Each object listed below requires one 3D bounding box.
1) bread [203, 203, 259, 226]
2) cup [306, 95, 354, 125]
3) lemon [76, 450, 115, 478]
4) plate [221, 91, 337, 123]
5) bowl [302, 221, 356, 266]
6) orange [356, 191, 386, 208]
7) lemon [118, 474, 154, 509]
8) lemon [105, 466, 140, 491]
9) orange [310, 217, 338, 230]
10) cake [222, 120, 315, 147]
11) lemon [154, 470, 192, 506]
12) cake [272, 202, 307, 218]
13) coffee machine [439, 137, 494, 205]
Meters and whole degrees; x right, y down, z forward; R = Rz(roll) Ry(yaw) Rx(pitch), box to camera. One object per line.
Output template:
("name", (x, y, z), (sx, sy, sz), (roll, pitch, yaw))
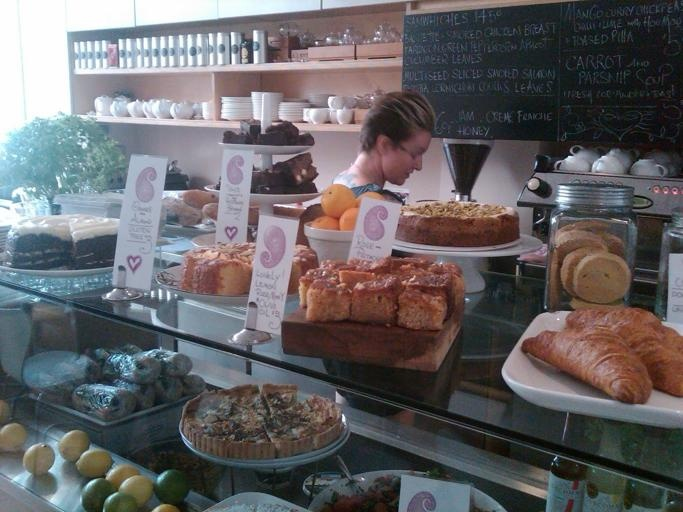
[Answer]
("bread", (-0.361, -0.136, 1.582), (0.124, 0.043, 0.124), (7, 10, 39))
("cup", (-0.073, -0.935, 3.202), (0.292, 0.108, 0.182), (8, 18, 25))
("lemon", (-0.506, 0.433, 1.045), (0.069, 0.050, 0.051), (0, 23, -10))
("plate", (-0.517, -1.019, 3.434), (0.700, 0.196, 0.686), (5, 10, 22))
("bowl", (-0.019, -0.017, 1.159), (0.110, 0.068, 0.105), (3, 2, 0))
("orange", (0.065, -0.128, 1.074), (0.056, 0.052, 0.053), (2, 1, -1))
("lemon", (-0.392, 0.460, 0.973), (0.060, 0.046, 0.046), (37, 12, -47))
("lemon", (-0.438, 0.443, 1.006), (0.051, 0.037, 0.038), (-21, 50, -23))
("orange", (-0.040, -0.074, 1.141), (0.049, 0.038, 0.039), (-4, 20, 20))
("cake", (-0.205, -0.370, 1.509), (0.243, 0.083, 0.227), (4, 10, 16))
("lemon", (-0.325, 0.444, 0.957), (0.065, 0.070, 0.063), (2, 6, 3))
("cake", (-0.162, -0.144, 1.583), (0.137, 0.051, 0.179), (1, 6, 1))
("coffee machine", (0.695, -0.485, 2.823), (0.351, 0.378, 0.342), (-6, 17, -20))
